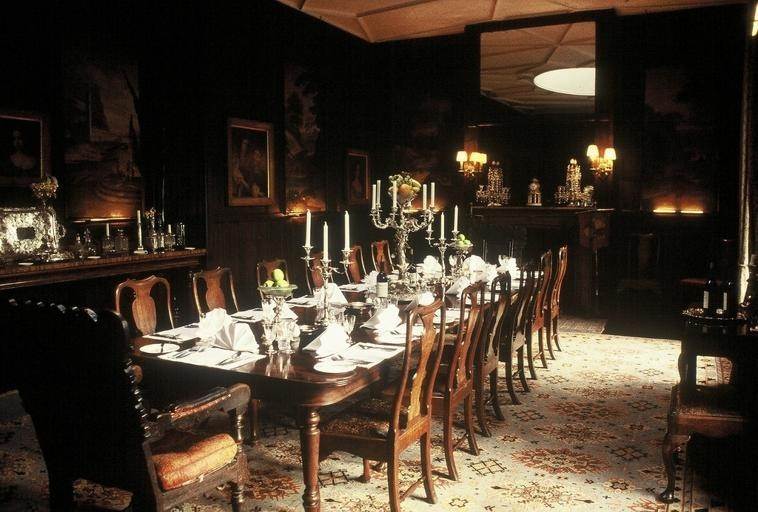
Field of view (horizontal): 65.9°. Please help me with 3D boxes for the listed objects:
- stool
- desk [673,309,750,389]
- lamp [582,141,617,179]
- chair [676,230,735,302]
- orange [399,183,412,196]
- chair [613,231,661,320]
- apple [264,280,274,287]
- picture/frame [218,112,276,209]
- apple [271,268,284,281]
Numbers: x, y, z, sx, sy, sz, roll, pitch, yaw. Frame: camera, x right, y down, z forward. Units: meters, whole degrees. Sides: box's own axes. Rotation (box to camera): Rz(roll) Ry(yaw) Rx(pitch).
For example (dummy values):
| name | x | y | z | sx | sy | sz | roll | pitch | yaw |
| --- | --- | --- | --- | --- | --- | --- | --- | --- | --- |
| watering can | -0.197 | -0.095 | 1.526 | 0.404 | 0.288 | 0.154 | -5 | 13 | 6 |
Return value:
| name | x | y | z | sx | sy | sz | roll | pitch | yaw |
| --- | --- | --- | --- | --- | --- | --- | --- | --- | --- |
| stool | 2.352 | 1.250 | 4.441 | 0.775 | 0.518 | 1.064 | -1 | 1 | 26 |
| desk | 2.699 | 0.764 | 4.732 | 0.442 | 0.602 | 1.110 | 7 | 14 | 29 |
| lamp | 3.514 | -1.498 | 9.225 | 0.424 | 0.517 | 0.414 | 4 | 13 | 21 |
| chair | 4.563 | 0.277 | 8.313 | 0.569 | 0.878 | 0.530 | 12 | 8 | 28 |
| orange | 0.253 | -0.639 | 5.672 | 0.091 | 0.060 | 0.118 | -35 | 27 | -27 |
| chair | 4.123 | 0.238 | 9.206 | 0.657 | 1.141 | 0.460 | 5 | 14 | 23 |
| apple | -0.800 | 0.206 | 4.281 | 0.053 | 0.022 | 0.052 | -18 | 25 | -42 |
| picture/frame | -1.738 | -1.237 | 7.893 | 0.199 | 1.200 | 0.992 | 4 | 13 | 20 |
| apple | -0.733 | 0.140 | 4.311 | 0.088 | 0.099 | 0.088 | -14 | 19 | -36 |
